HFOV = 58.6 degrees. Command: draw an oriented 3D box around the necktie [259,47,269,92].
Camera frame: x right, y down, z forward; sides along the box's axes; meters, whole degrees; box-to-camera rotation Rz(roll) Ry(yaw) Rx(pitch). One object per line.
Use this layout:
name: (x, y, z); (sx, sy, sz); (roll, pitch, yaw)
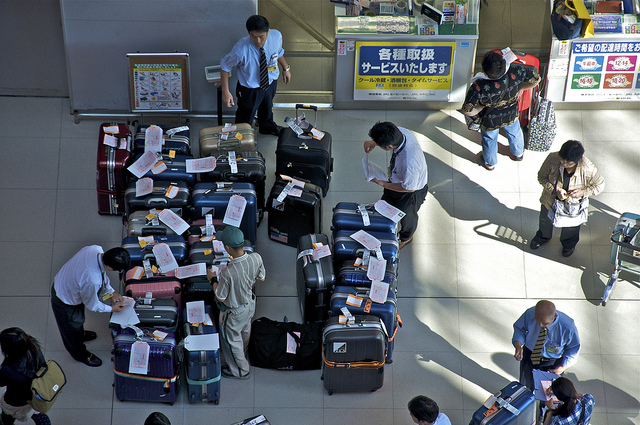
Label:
necktie: (-0.788, -2.036, 8.145); (0.138, 0.606, 0.127); (-6, 19, -14)

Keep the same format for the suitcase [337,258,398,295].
suitcase: (0.581, 0.739, 6.994); (0.708, 0.657, 0.389); (1, 62, 4)

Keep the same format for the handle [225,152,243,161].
handle: (-1.144, -0.755, 7.795); (0.148, 0.142, 0.039); (4, -13, -3)

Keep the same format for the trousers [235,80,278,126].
trousers: (-0.852, -1.615, 8.580); (0.464, 0.300, 0.983); (7, 50, -3)

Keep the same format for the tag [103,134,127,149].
tag: (-2.794, -0.993, 7.872); (0.261, 0.192, 0.060); (13, -22, -28)

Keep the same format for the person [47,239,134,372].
person: (-2.675, 1.162, 6.745); (0.832, 1.415, 0.601); (6, 57, -16)

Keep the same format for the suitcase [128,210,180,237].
suitcase: (-2.156, 0.236, 7.511); (0.583, 0.529, 0.337); (1, 61, -7)

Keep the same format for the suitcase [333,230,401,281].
suitcase: (0.630, 0.552, 7.625); (0.971, 0.899, 0.525); (3, 60, 4)

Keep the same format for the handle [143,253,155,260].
handle: (-2.060, 0.519, 6.840); (0.182, 0.059, 0.128); (-4, -8, 10)

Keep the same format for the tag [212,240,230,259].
tag: (-1.167, 0.443, 6.861); (0.211, 0.204, 0.050); (4, -21, -13)

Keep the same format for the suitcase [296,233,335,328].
suitcase: (-0.036, 0.844, 7.061); (0.330, 0.916, 0.871); (0, 23, -6)

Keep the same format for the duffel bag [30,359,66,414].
duffel bag: (-2.912, 1.868, 6.132); (0.315, 0.594, 0.474); (21, 44, -12)

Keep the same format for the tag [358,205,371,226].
tag: (0.580, 0.030, 7.404); (0.093, 0.194, 0.276); (-6, 19, -12)

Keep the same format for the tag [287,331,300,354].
tag: (-0.329, 1.597, 6.962); (0.115, 0.215, 0.118); (-2, 18, -2)

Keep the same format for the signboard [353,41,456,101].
signboard: (1.299, -2.546, 8.900); (1.470, 1.390, 0.769); (1, 41, 1)

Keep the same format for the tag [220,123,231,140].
tag: (-1.308, -1.145, 8.049); (0.119, 0.185, 0.206); (2, 18, 10)

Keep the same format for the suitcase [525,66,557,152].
suitcase: (3.345, -1.567, 8.666); (0.396, 1.320, 0.529); (6, 54, 12)

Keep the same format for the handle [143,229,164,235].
handle: (-2.076, 0.239, 7.199); (0.253, 0.064, 0.032); (-3, 18, -4)

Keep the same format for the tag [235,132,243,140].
tag: (-1.122, -1.076, 8.007); (0.102, 0.082, 0.052); (-2, 18, 0)

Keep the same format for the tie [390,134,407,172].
tie: (0.993, -0.736, 7.377); (0.229, 0.311, 0.096); (8, -2, 42)

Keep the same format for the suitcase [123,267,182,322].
suitcase: (-2.171, 0.885, 7.027); (0.332, 0.550, 0.598); (3, 30, 4)

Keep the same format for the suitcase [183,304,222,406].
suitcase: (-1.365, 1.671, 6.643); (0.369, 0.833, 0.882); (-3, 46, -8)

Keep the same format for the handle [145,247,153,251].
handle: (-2.075, 0.431, 6.992); (0.044, 0.034, 0.062); (5, -4, 3)

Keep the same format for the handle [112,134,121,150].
handle: (-2.778, -0.992, 7.952); (0.045, 0.169, 0.168); (4, -8, -4)

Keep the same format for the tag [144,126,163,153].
tag: (-2.288, -1.019, 7.902); (0.255, 0.310, 0.335); (-7, 19, -16)

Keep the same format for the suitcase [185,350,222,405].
suitcase: (-1.370, 1.883, 6.816); (0.484, 0.719, 0.470); (-3, 9, -23)

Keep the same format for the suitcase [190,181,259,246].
suitcase: (-1.300, 0.044, 7.926); (0.916, 1.310, 0.441); (4, 54, -5)

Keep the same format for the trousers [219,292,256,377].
trousers: (-0.979, 1.430, 6.765); (0.353, 1.087, 0.409); (19, 46, 4)

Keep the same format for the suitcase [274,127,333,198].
suitcase: (-0.234, -0.700, 8.384); (0.941, 0.946, 0.948); (-7, 37, -18)

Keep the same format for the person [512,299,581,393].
person: (2.552, 1.538, 6.508); (0.691, 1.196, 0.374); (7, 20, 24)

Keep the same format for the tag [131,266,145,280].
tag: (-2.161, 0.720, 6.885); (0.112, 0.142, 0.038); (19, -16, 9)

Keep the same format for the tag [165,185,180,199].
tag: (-1.898, -0.270, 7.413); (0.142, 0.018, 0.179); (17, 58, 9)

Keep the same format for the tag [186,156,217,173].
tag: (-1.573, -0.642, 7.647); (0.341, 0.211, 0.083); (-6, -22, 5)

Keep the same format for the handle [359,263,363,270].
handle: (0.499, 0.660, 6.999); (0.023, 0.029, 0.069); (5, 42, 7)

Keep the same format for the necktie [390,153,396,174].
necktie: (0.946, -0.618, 7.417); (0.020, 0.205, 0.076); (-7, 19, -15)

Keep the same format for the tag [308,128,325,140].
tag: (-0.028, -1.117, 8.077); (0.153, 0.046, 0.153); (28, 48, 1)

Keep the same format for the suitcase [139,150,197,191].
suitcase: (-1.938, -0.599, 7.783); (0.844, 0.196, 0.479); (4, 61, -1)

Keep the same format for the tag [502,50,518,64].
tag: (2.650, -2.183, 8.023); (0.190, 0.192, 0.052); (-29, -12, -4)
